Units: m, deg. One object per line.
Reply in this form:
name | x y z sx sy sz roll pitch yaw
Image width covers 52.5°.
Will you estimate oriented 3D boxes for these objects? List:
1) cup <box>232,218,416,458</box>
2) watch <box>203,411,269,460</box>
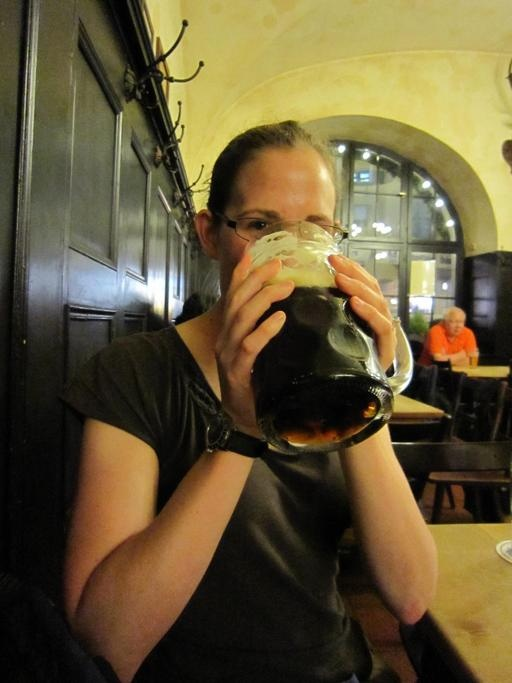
cup | 0.064 -0.016 0.572 0.154 0.174 0.287 6 4 -2
watch | -0.027 0.116 0.612 0.071 0.047 0.077 9 -8 15
